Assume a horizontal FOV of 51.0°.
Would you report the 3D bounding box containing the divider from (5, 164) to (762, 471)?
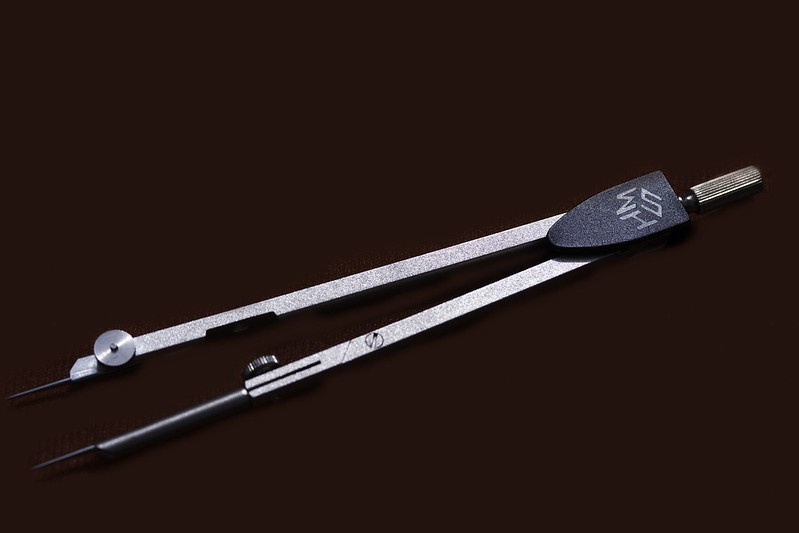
[{"bbox_3d":[-0.132,0.108,1.493,1.209,0.075,0.146,-20,64,-10],"label":"divider"}]
